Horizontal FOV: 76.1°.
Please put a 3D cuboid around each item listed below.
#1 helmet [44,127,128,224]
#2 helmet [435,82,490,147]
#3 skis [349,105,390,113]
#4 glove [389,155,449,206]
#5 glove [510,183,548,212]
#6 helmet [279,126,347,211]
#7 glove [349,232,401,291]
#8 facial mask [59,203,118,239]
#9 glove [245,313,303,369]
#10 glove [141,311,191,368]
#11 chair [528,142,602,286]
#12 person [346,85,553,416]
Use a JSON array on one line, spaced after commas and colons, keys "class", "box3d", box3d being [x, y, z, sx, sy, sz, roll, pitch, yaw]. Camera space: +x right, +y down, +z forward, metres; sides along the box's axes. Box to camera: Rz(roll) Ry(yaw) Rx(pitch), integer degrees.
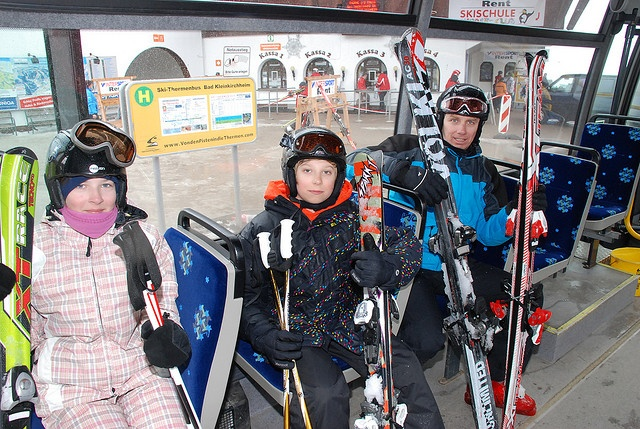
[{"class": "helmet", "box3d": [-1.086, -0.231, 1.897, 0.421, 0.419, 0.323, 11, -5, 39]}, {"class": "helmet", "box3d": [0.897, -0.705, 2.818, 0.303, 0.399, 0.397, 11, 14, 3]}, {"class": "skis", "box3d": [0.410, -0.870, 3.349, 0.295, 0.044, 0.031, 3, 17, 2]}, {"class": "glove", "box3d": [0.571, -0.221, 2.410, 0.326, 0.219, 0.133, 45, 6, 33]}, {"class": "glove", "box3d": [1.246, -0.115, 2.450, 0.187, 0.165, 0.298, 7, 21, 19]}, {"class": "helmet", "box3d": [-0.019, -0.234, 2.199, 0.355, 0.390, 0.407, 6, -9, -8]}, {"class": "glove", "box3d": [0.265, 0.204, 2.055, 0.294, 0.230, 0.210, 6, 1, 1]}, {"class": "facial mask", "box3d": [-1.039, 0.016, 1.867, 0.222, 0.122, 0.251, 1, 11, -20]}, {"class": "glove", "box3d": [-0.227, 0.584, 1.945, 0.267, 0.116, 0.153, 35, 45, 27]}, {"class": "glove", "box3d": [-0.600, 0.528, 1.646, 0.155, 0.210, 0.070, -23, 9, 12]}, {"class": "chair", "box3d": [1.715, -0.033, 3.242, 0.665, 0.895, 0.557, -11, 17, -13]}, {"class": "person", "box3d": [0.908, 0.224, 2.662, 1.421, 2.056, 1.177, 15, 23, 40]}]
